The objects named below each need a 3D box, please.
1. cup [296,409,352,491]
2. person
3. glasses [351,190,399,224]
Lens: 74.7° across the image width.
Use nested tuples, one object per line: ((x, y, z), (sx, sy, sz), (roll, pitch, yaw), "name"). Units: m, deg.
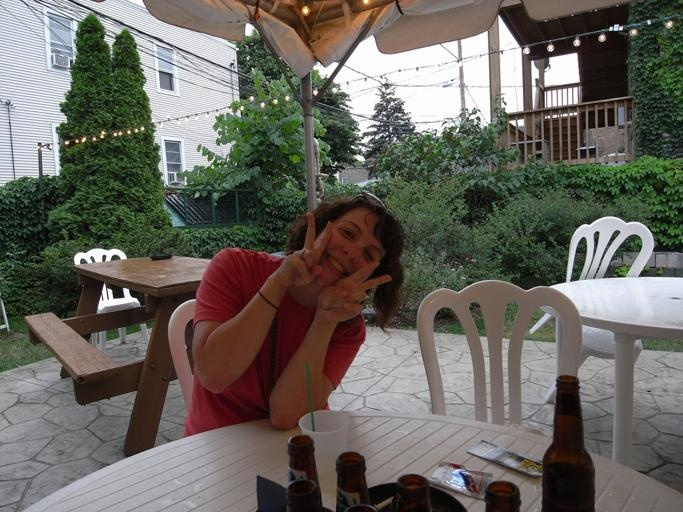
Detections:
((-0.061, 0.566, 1.380), (0.181, 0.203, 0.188), (-2, 7, 0), "cup")
((-0.203, 0.247, 1.824), (0.979, 0.952, 0.562), (-4, 8, -1), "person")
((0.177, -0.235, 1.904), (0.149, 0.046, 0.149), (34, -20, 15), "glasses")
